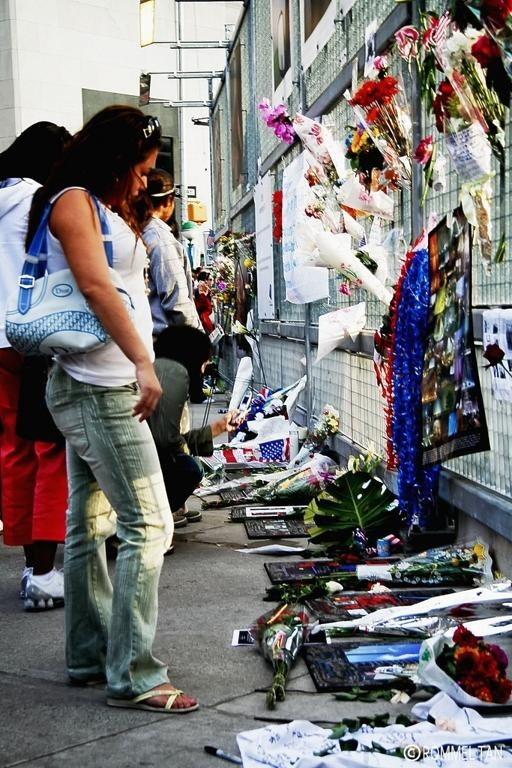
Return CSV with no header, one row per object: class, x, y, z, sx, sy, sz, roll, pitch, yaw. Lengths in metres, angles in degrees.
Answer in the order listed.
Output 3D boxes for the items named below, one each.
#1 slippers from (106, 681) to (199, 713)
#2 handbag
slippers,-0.281,0.827,1.767,0.195,0.053,0.091,-1,-7,8
handbag,-0.536,-0.272,1.734,0.278,0.311,0.123,-5,-1,5
